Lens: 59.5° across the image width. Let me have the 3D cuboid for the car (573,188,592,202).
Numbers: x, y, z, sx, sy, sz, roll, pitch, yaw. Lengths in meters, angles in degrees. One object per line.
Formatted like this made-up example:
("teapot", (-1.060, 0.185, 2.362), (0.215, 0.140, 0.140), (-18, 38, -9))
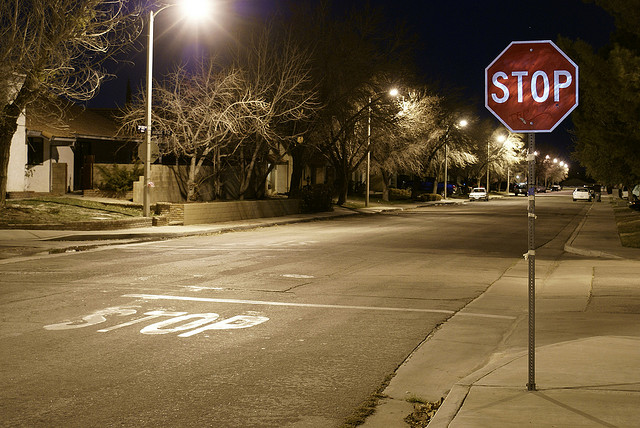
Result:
("car", (34.619, -2.555, 73.166), (2.022, 1.634, 2.822), (5, 8, 30))

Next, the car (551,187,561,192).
("car", (67.573, -7.110, 158.936), (2.213, 1.198, 3.827), (0, -2, 18))

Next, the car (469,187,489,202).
("car", (21.432, -2.645, 74.947), (2.157, 1.618, 2.158), (4, 7, 22))

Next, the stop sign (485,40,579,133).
("stop sign", (2.651, -1.594, 6.990), (1.062, 1.143, 0.482), (3, 7, 18))

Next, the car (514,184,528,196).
("car", (37.263, -4.478, 102.991), (1.931, 2.068, 4.722), (5, 8, 30))
